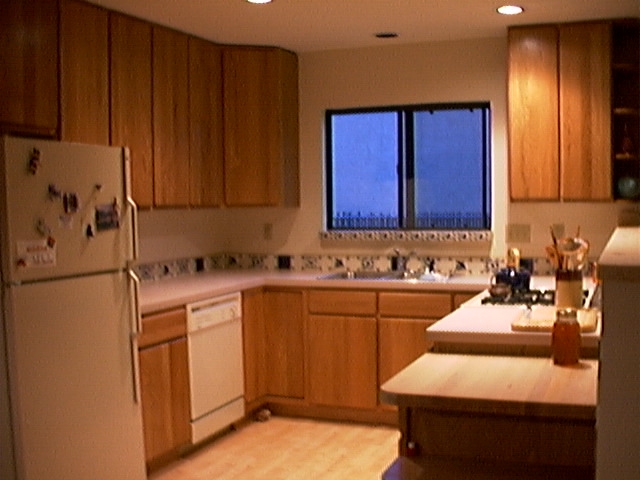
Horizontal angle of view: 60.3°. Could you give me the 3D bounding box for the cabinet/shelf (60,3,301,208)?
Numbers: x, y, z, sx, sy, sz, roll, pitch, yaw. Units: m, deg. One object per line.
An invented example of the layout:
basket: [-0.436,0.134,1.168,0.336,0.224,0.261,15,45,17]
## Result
cabinet/shelf: [-1.035,-0.946,4.031,0.990,1.468,2.063,2,5,27]

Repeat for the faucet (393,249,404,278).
faucet: [0.666,0.195,4.600,0.081,0.206,0.155,-2,7,1]

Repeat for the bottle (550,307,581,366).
bottle: [1.001,0.386,2.227,0.126,0.217,0.124,-2,7,0]

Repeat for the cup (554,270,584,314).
cup: [1.042,0.217,2.322,0.098,0.176,0.211,2,9,31]

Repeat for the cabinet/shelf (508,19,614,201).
cabinet/shelf: [1.802,-0.895,4.203,0.724,1.424,0.502,2,-12,14]
